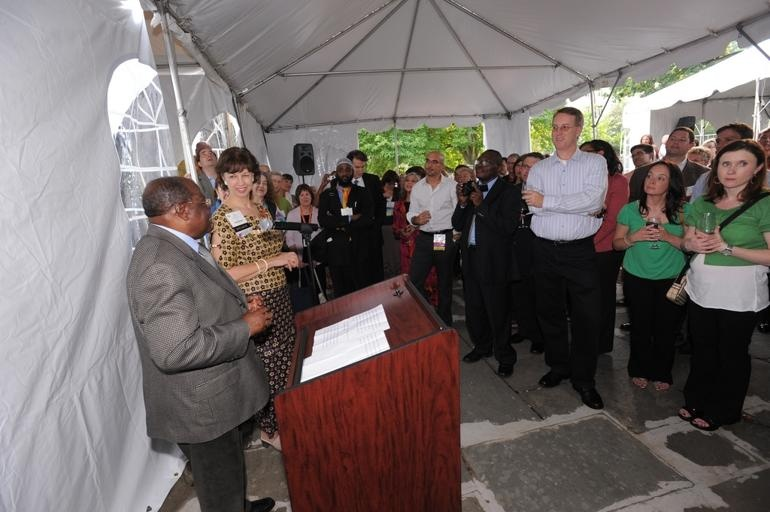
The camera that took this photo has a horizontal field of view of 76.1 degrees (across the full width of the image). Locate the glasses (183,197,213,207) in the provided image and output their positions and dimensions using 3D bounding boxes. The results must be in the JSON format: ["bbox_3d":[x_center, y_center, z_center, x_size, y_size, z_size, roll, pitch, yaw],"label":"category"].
[{"bbox_3d":[-1.105,-0.308,2.880,0.140,0.041,0.135,-5,7,18],"label":"glasses"}]

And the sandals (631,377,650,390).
[{"bbox_3d":[2.357,1.151,4.549,0.104,0.025,0.102,-13,16,10],"label":"sandals"}]

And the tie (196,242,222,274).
[{"bbox_3d":[-1.109,0.015,3.083,0.062,0.063,0.211,-21,-38,16],"label":"tie"}]

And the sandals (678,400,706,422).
[{"bbox_3d":[2.521,1.278,4.051,0.236,0.096,0.078,9,-11,-43],"label":"sandals"}]

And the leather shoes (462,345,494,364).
[{"bbox_3d":[0.967,1.046,5.228,0.348,0.145,0.130,1,-2,-21],"label":"leather shoes"}]

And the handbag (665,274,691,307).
[{"bbox_3d":[2.421,0.279,4.041,0.072,0.223,0.165,20,44,36],"label":"handbag"}]

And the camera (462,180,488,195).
[{"bbox_3d":[0.846,-0.665,4.729,0.163,0.140,0.229,-36,18,-20],"label":"camera"}]

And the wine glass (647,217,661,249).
[{"bbox_3d":[2.327,-0.195,4.265,0.105,0.280,0.224,4,12,29],"label":"wine glass"}]

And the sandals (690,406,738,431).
[{"bbox_3d":[2.638,1.311,3.964,0.413,0.111,0.146,-18,16,13],"label":"sandals"}]

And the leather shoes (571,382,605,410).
[{"bbox_3d":[1.793,1.199,4.344,0.278,0.181,0.205,4,12,30],"label":"leather shoes"}]

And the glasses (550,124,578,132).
[{"bbox_3d":[1.568,-1.103,4.274,0.193,0.065,0.070,1,11,17],"label":"glasses"}]
